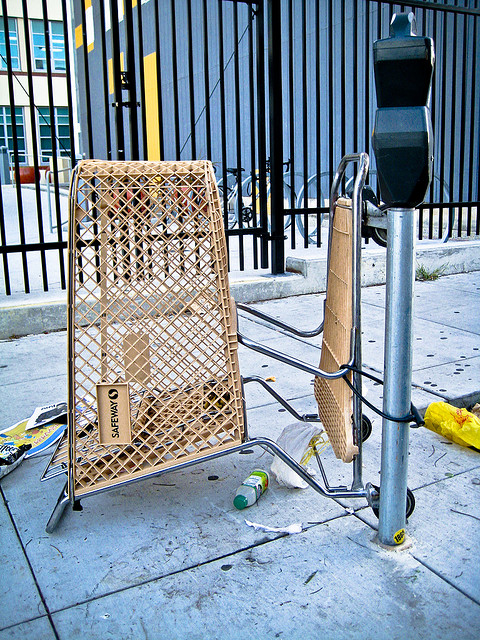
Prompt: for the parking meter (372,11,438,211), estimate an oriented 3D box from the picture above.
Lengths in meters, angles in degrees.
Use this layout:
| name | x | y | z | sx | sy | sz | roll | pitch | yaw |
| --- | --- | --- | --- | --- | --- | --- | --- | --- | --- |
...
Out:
| name | x | y | z | sx | sy | sz | roll | pitch | yaw |
| --- | --- | --- | --- | --- | --- | --- | --- | --- | --- |
| parking meter | 0.369 | -0.469 | 1.307 | 0.133 | 0.445 | 0.198 | 2 | 14 | 17 |
